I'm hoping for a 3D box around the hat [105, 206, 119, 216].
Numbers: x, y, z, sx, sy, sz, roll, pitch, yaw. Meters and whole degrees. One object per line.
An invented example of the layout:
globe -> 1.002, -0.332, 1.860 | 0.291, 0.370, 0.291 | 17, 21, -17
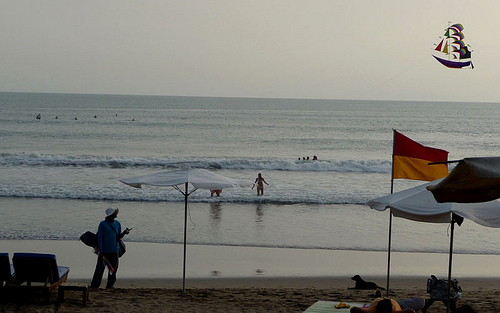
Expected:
hat -> -10.134, 4.006, 75.162 | 0.977, 0.599, 0.648 | -24, 14, 2
